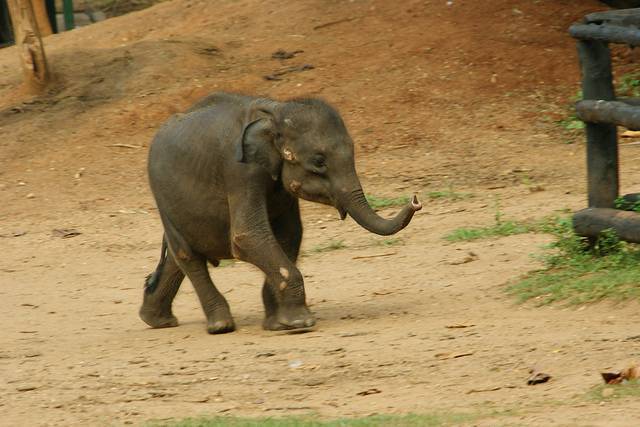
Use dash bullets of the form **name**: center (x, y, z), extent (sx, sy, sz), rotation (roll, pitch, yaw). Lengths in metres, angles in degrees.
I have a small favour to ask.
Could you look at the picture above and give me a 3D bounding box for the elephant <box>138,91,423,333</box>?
- **elephant**: center (-0.511, 0.004, 8.144), extent (2.125, 2.274, 0.948), rotation (-7, 17, 7)
